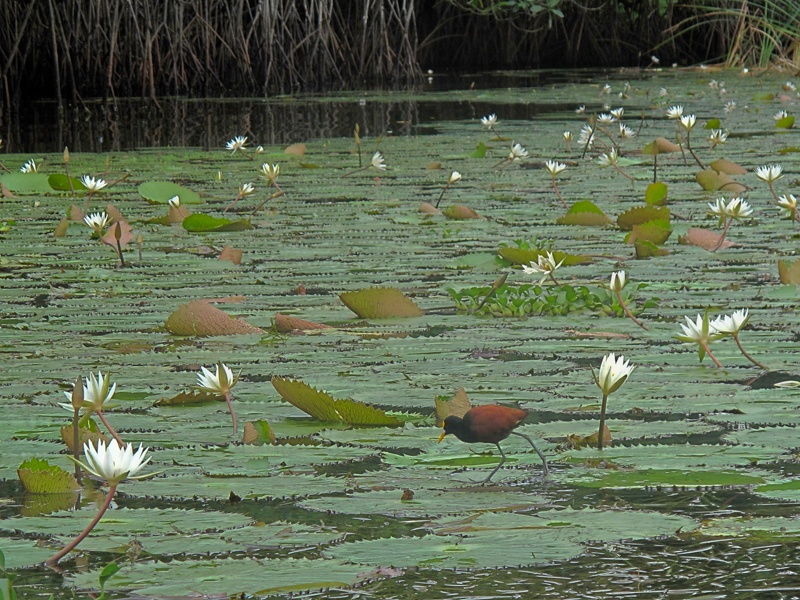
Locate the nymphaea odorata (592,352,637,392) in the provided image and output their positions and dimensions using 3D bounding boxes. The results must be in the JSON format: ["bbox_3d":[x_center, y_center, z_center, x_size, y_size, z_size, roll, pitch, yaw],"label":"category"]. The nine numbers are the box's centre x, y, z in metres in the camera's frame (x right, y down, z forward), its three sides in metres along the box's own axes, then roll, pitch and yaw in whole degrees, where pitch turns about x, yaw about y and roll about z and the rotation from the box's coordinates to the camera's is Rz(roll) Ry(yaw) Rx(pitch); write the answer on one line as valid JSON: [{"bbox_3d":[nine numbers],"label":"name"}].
[{"bbox_3d":[0.472,0.166,2.944,0.082,0.075,0.087,30,-10,-8],"label":"nymphaea odorata"}]

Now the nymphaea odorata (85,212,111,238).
[{"bbox_3d":[-1.013,-0.247,4.496,0.097,0.079,0.082,2,26,11],"label":"nymphaea odorata"}]

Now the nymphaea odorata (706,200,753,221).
[{"bbox_3d":[1.055,-0.282,4.250,0.142,0.058,0.158,5,0,-6],"label":"nymphaea odorata"}]

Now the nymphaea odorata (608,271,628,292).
[{"bbox_3d":[0.540,-0.043,3.324,0.068,0.037,0.054,-2,-7,-6],"label":"nymphaea odorata"}]
